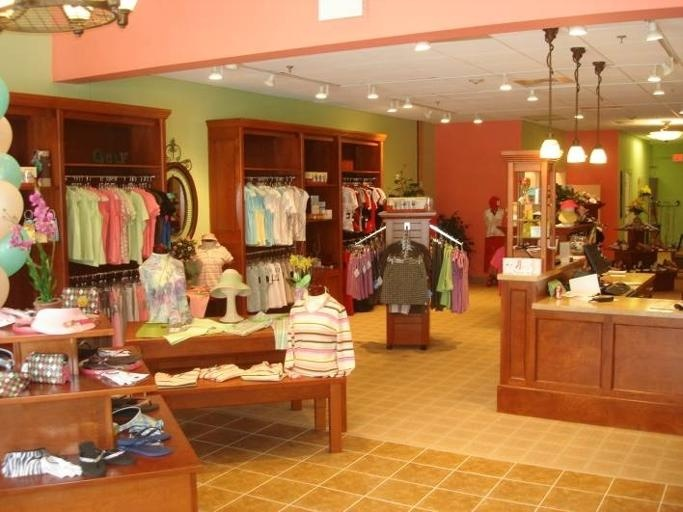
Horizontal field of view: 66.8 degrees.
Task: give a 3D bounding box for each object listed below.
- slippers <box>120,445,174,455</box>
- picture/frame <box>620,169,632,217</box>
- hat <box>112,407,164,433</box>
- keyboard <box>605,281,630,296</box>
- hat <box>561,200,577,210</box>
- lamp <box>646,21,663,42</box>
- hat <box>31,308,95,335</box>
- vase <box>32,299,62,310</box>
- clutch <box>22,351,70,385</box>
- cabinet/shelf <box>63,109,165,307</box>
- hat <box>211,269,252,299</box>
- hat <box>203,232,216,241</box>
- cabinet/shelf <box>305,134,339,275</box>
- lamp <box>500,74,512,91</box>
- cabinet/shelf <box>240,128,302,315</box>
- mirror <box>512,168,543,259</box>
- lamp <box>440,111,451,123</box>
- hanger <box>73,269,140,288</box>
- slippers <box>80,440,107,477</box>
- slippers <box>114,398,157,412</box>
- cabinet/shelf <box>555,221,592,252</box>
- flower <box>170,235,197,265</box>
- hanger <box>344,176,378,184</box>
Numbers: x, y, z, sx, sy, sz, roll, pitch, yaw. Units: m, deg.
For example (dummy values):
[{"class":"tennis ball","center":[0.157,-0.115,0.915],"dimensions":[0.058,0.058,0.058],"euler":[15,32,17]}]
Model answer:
[{"class":"slippers","center":[-1.107,1.124,2.990],"dimensions":[0.244,0.057,0.090],"euler":[1,3,2]},{"class":"picture/frame","center":[8.900,-1.930,16.230],"dimensions":[0.229,1.511,1.619],"euler":[2,7,32]},{"class":"hat","center":[-1.271,1.036,3.260],"dimensions":[0.299,0.074,0.134],"euler":[-5,15,-21]},{"class":"keyboard","center":[3.360,0.395,6.322],"dimensions":[0.386,0.065,0.678],"euler":[-5,-1,29]},{"class":"hat","center":[2.954,-0.663,6.740],"dimensions":[0.169,0.137,0.291],"euler":[1,7,23]},{"class":"lamp","center":[2.984,-2.168,4.956],"dimensions":[0.102,0.171,0.351],"euler":[4,8,41]},{"class":"hat","center":[-1.487,0.339,2.782],"dimensions":[0.301,0.125,0.213],"euler":[-4,7,-27]},{"class":"vase","center":[-1.672,0.278,2.968],"dimensions":[0.140,0.049,0.155],"euler":[-4,7,-27]},{"class":"clutch","center":[-1.566,0.592,2.760],"dimensions":[0.227,0.157,0.190],"euler":[-2,6,-12]},{"class":"cabinet/shelf","center":[-2.817,-0.839,6.614],"dimensions":[1.340,2.080,0.925],"euler":[-6,8,-38]},{"class":"hat","center":[-1.152,0.296,5.405],"dimensions":[0.372,0.206,0.357],"euler":[-1,-7,-3]},{"class":"hat","center":[-1.924,-0.278,7.533],"dimensions":[0.185,0.105,0.258],"euler":[-3,6,-14]},{"class":"cabinet/shelf","center":[-0.379,-1.027,10.029],"dimensions":[0.796,2.487,0.326],"euler":[2,7,30]},{"class":"lamp","center":[2.449,-2.609,7.725],"dimensions":[0.231,0.223,0.226],"euler":[-1,18,5]},{"class":"cabinet/shelf","center":[-1.172,-0.572,8.673],"dimensions":[0.951,3.203,1.730],"euler":[0,6,14]},{"class":"mirror","center":[2.050,-0.468,5.712],"dimensions":[0.289,0.939,0.285],"euler":[1,6,18]},{"class":"lamp","center":[2.441,-3.235,12.113],"dimensions":[0.221,0.210,0.224],"euler":[-15,19,-39]},{"class":"hanger","center":[-2.947,0.257,6.661],"dimensions":[0.680,0.174,0.909],"euler":[0,6,5]},{"class":"slippers","center":[-1.342,1.089,2.802],"dimensions":[0.130,0.142,0.191],"euler":[-4,7,-26]},{"class":"slippers","center":[-1.398,1.002,3.502],"dimensions":[0.291,0.065,0.100],"euler":[-3,8,-32]},{"class":"cabinet/shelf","center":[3.209,-0.298,7.149],"dimensions":[0.330,0.341,2.329],"euler":[2,7,27]},{"class":"flower","center":[-2.153,-0.089,7.226],"dimensions":[0.378,0.332,0.358],"euler":[5,11,27]},{"class":"hanger","center":[0.397,-1.626,11.034],"dimensions":[0.725,0.110,0.187],"euler":[-2,14,-38]}]
